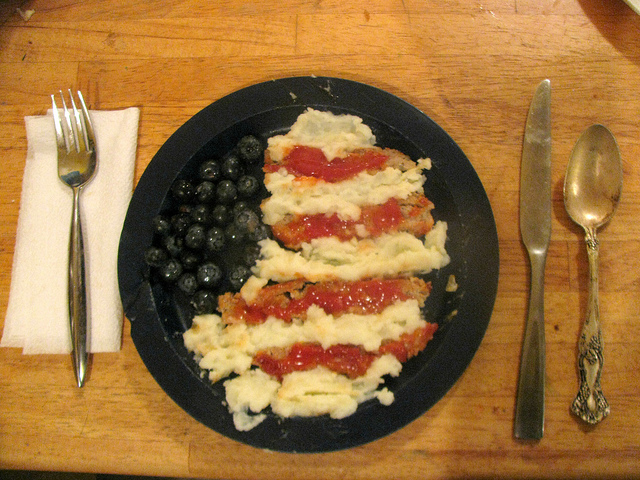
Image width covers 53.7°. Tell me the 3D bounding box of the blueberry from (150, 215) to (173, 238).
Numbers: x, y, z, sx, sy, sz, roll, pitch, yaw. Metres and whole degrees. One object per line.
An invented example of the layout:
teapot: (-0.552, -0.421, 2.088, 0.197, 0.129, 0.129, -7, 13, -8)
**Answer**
blueberry: (-1.070, -0.096, 4.338, 0.150, 0.128, 0.128, -26, 75, 12)

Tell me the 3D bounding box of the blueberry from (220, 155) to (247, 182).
blueberry: (-0.596, -0.495, 4.397, 0.174, 0.101, 0.172, -27, 89, -4)

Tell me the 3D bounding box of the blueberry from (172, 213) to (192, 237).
blueberry: (-0.946, -0.109, 4.306, 0.141, 0.120, 0.140, -27, 53, 22)

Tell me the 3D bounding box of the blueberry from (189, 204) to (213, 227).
blueberry: (-0.811, -0.171, 4.337, 0.161, 0.074, 0.143, 11, 69, 0)

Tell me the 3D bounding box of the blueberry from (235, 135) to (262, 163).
blueberry: (-0.494, -0.625, 4.379, 0.173, 0.125, 0.164, -19, 72, -11)

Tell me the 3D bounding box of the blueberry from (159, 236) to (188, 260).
blueberry: (-1.002, 0.052, 4.285, 0.158, 0.058, 0.153, -5, 92, -10)

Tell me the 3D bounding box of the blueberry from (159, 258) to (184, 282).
blueberry: (-1.008, 0.203, 4.289, 0.160, 0.077, 0.151, -10, 84, -6)

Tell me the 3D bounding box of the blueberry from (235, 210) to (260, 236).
blueberry: (-0.496, -0.109, 4.317, 0.156, 0.088, 0.167, -38, 76, -16)

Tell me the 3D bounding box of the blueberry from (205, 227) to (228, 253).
blueberry: (-0.706, 0.004, 4.263, 0.134, 0.070, 0.158, 2, 88, -5)

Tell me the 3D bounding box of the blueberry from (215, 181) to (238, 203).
blueberry: (-0.646, -0.331, 4.349, 0.156, 0.075, 0.132, -8, 70, -7)

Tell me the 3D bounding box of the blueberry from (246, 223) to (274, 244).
blueberry: (-0.407, -0.038, 4.265, 0.160, 0.065, 0.127, -16, 100, -10)

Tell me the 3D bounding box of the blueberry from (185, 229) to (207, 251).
blueberry: (-0.844, 0.003, 4.322, 0.153, 0.119, 0.116, -5, 70, -6)

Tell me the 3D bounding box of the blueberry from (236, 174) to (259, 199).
blueberry: (-0.496, -0.368, 4.413, 0.153, 0.133, 0.150, -28, 93, -8)

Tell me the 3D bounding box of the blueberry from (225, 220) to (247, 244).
blueberry: (-0.577, -0.052, 4.379, 0.141, 0.088, 0.146, 19, 89, -5)

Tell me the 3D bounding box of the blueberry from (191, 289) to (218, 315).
blueberry: (-0.784, 0.417, 4.278, 0.142, 0.138, 0.177, -1, 46, 4)

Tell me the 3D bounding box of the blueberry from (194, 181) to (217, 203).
blueberry: (-0.781, -0.328, 4.335, 0.143, 0.067, 0.139, -2, 88, 0)

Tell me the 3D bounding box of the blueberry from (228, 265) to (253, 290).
blueberry: (-0.547, 0.247, 4.308, 0.160, 0.082, 0.158, 31, 91, 2)

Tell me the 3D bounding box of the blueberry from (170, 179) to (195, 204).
blueberry: (-0.941, -0.333, 4.348, 0.157, 0.106, 0.143, -7, 70, -7)
